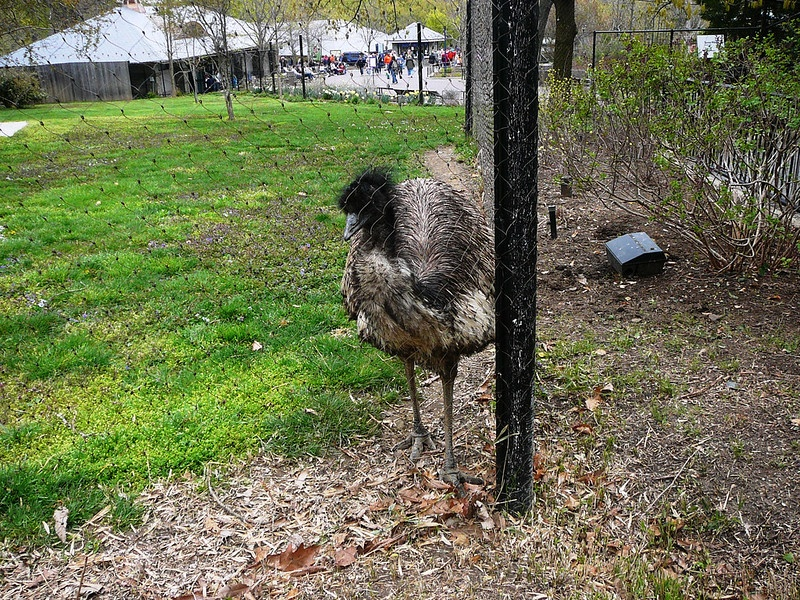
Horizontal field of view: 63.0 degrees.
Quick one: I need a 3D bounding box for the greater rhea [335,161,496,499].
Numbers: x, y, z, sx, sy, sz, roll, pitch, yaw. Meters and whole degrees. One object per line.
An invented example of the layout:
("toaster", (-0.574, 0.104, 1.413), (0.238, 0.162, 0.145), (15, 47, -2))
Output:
("greater rhea", (0.227, 0.129, 5.261), (1.155, 2.362, 1.258), (4, 22, 19))
